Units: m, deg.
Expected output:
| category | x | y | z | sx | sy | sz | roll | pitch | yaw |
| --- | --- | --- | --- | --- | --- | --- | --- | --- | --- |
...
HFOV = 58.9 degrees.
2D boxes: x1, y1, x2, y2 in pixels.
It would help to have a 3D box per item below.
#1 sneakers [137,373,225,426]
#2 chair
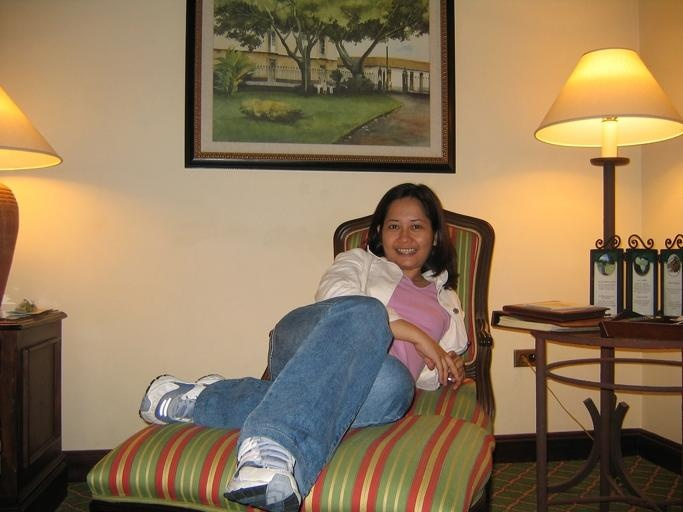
| category | x | y | z | sx | sy | sz | roll | pitch | yaw |
| --- | --- | --- | --- | --- | --- | --- | --- | --- | --- |
| sneakers | -0.620 | 0.544 | 2.317 | 0.292 | 0.178 | 0.139 | 2 | 3 | -16 |
| chair | 0.229 | 0.276 | 3.032 | 0.776 | 1.359 | 0.860 | 1 | -5 | 6 |
